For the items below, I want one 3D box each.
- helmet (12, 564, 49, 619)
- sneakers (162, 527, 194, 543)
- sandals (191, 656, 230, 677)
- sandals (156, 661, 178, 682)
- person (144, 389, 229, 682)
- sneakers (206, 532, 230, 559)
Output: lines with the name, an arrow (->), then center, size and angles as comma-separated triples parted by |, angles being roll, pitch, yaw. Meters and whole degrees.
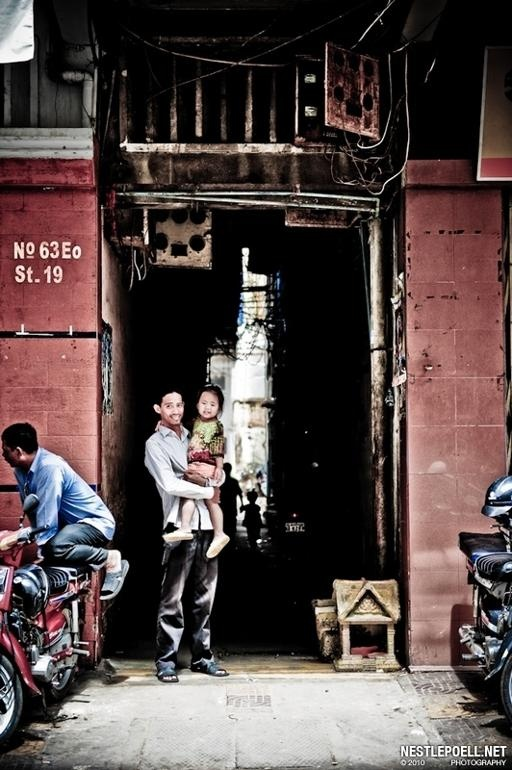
helmet -> -1.304, 1.214, 6.016 | 0.179, 0.275, 0.251 | 1, 6, -10
sneakers -> -0.538, 1.049, 7.123 | 0.205, 0.123, 0.254 | 1, -2, -5
sandals -> -0.313, 1.962, 7.225 | 0.233, 0.105, 0.108 | -2, -4, 31
sandals -> -0.599, 1.954, 6.994 | 0.144, 0.094, 0.207 | 1, -2, -8
person -> -0.498, 1.049, 7.305 | 0.567, 1.998, 0.729 | 1, -1, -5
sneakers -> -0.275, 1.134, 7.229 | 0.147, 0.192, 0.312 | 1, -2, -2
